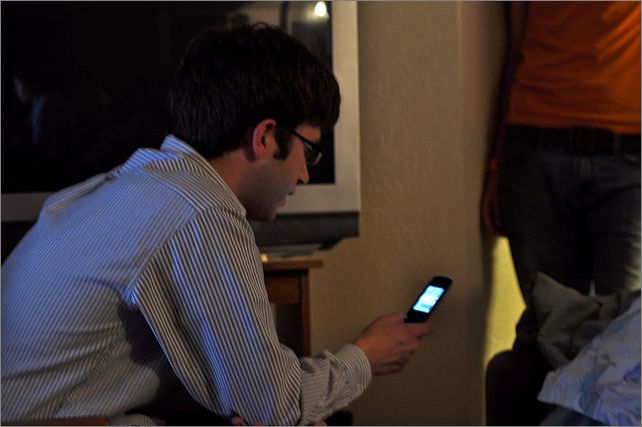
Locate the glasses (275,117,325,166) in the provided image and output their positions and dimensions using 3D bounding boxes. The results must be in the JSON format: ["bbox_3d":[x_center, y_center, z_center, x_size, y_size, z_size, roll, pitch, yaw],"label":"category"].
[{"bbox_3d":[-0.060,-0.181,1.722,0.106,0.031,0.101,44,-12,-5],"label":"glasses"}]
